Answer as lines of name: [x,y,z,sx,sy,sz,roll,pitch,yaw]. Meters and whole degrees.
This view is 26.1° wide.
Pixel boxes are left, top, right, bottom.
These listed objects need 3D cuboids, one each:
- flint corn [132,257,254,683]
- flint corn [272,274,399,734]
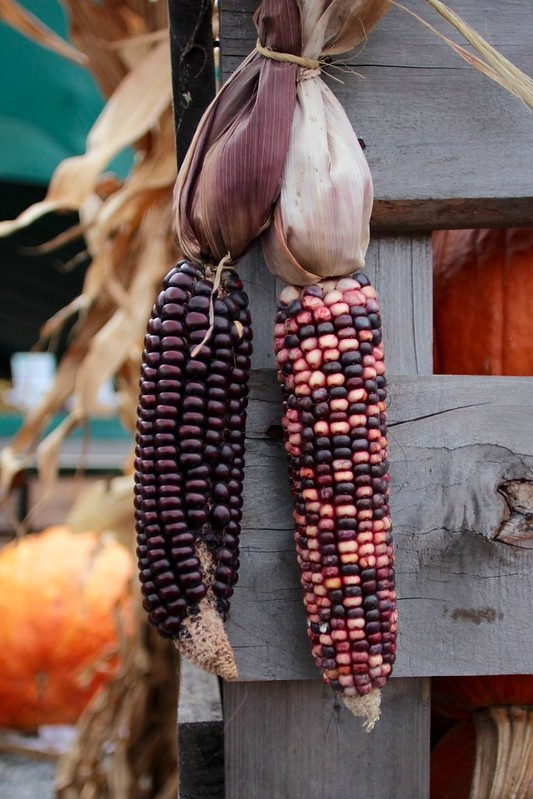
flint corn: [-0.105,0.094,1.686,0.191,0.173,0.584,3,91,-4]
flint corn: [0.114,0.147,1.717,0.197,0.189,0.656,-1,93,3]
